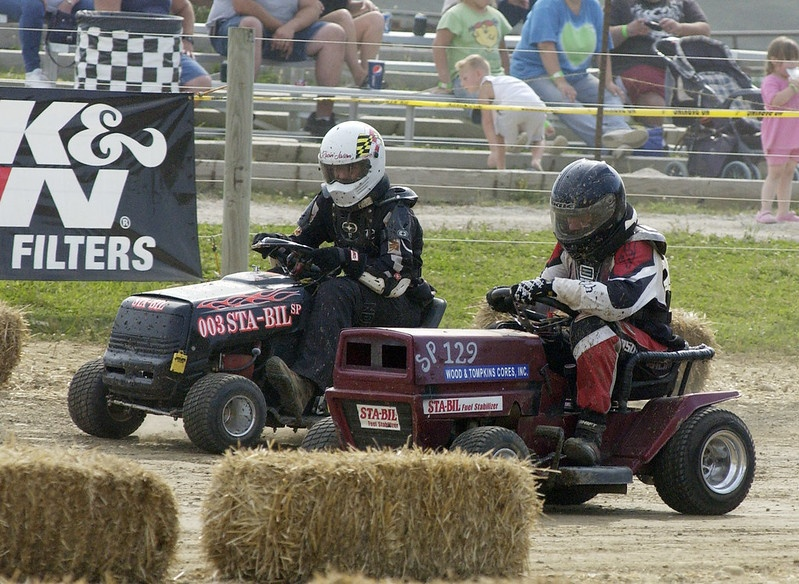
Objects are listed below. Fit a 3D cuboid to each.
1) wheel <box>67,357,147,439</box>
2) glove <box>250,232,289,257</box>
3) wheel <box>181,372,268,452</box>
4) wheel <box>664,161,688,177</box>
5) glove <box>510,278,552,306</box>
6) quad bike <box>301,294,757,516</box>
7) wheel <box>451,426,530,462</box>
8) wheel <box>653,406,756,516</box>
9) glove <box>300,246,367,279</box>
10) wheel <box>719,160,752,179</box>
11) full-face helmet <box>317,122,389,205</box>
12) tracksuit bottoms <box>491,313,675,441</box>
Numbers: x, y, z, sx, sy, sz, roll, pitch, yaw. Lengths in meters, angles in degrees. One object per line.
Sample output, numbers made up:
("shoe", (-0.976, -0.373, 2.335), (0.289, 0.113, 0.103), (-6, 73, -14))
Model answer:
("wheel", (-2.590, 0.935, 17.070), (0.302, 0.678, 0.688), (-3, 3, 32))
("glove", (-1.188, -0.420, 17.440), (0.305, 0.108, 0.202), (-10, 37, -32))
("wheel", (-1.533, 1.029, 16.737), (0.586, 0.568, 0.219), (19, -13, -40))
("wheel", (3.501, -1.524, 23.834), (0.198, 0.197, 0.078), (4, 11, 20))
("glove", (1.137, -0.017, 15.886), (0.253, 0.216, 0.116), (-13, -32, 14))
("quad bike", (1.147, 1.027, 16.095), (3.050, 1.651, 1.980), (4, -5, -28))
("wheel", (0.764, 1.193, 15.346), (0.633, 0.237, 0.475), (4, 8, 1))
("wheel", (2.575, 1.392, 16.001), (0.823, 0.808, 0.361), (-9, 4, -26))
("glove", (-0.529, -0.294, 17.197), (0.388, 0.173, 0.290), (9, 3, -27))
("wheel", (4.287, -1.530, 23.904), (0.084, 0.228, 0.228), (-9, 11, -43))
("full-face helmet", (-0.404, -1.175, 17.374), (0.602, 0.684, 0.743), (1, 10, 34))
("tracksuit bottoms", (1.678, 0.625, 16.095), (0.900, 1.176, 0.844), (-2, -2, 29))
